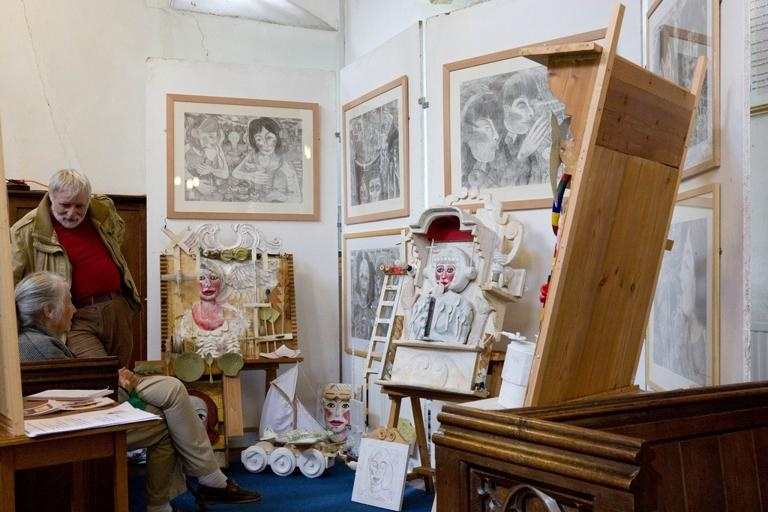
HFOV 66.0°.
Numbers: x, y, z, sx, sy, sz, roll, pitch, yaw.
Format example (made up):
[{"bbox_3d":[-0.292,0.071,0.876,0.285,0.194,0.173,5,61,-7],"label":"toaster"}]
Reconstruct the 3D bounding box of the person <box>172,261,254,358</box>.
[{"bbox_3d":[-1.628,0.519,5.519,0.807,1.267,0.356,-1,-10,-19],"label":"person"}]

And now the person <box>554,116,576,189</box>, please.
[{"bbox_3d":[0.962,-0.528,3.197,0.089,0.364,1.273,2,2,16],"label":"person"}]

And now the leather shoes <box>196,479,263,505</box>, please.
[{"bbox_3d":[-1.163,1.746,4.411,0.443,0.169,0.192,2,-5,-15],"label":"leather shoes"}]

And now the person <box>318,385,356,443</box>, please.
[{"bbox_3d":[-0.450,1.450,5.541,0.445,0.725,0.390,0,-15,-1],"label":"person"}]
